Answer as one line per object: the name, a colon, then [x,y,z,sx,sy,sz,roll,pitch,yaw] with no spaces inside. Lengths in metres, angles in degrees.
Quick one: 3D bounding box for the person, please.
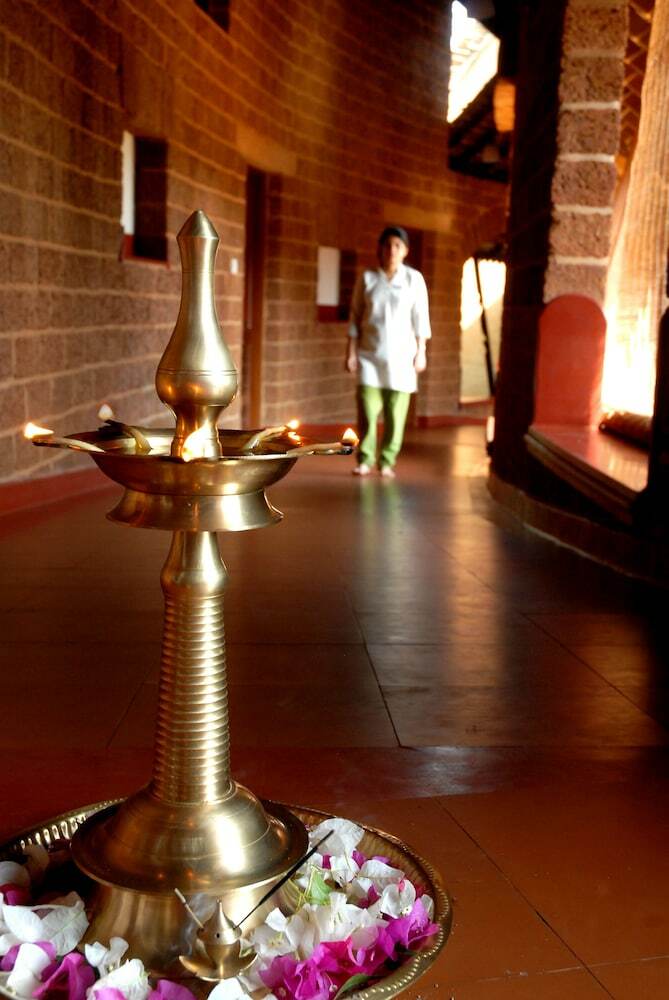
person: [0.383,-1.073,6.517,0.576,1.800,0.531,3,9,2]
